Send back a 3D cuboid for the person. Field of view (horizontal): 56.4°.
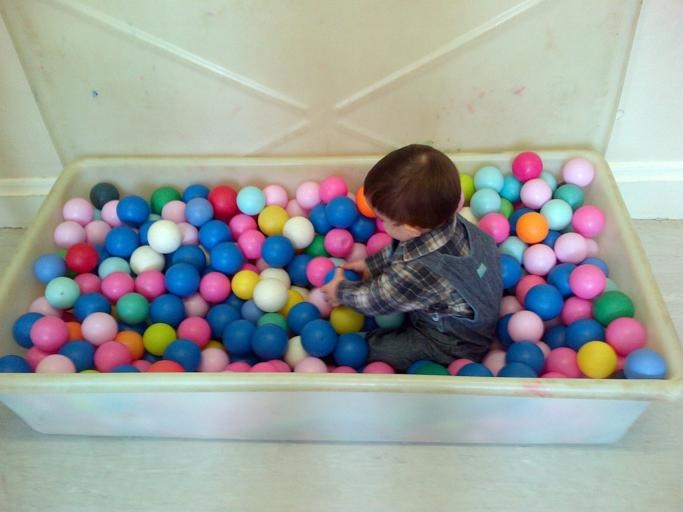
[{"bbox_3d":[0.225,0.007,2.141,0.557,0.759,0.487,-7,37,-4],"label":"person"}]
